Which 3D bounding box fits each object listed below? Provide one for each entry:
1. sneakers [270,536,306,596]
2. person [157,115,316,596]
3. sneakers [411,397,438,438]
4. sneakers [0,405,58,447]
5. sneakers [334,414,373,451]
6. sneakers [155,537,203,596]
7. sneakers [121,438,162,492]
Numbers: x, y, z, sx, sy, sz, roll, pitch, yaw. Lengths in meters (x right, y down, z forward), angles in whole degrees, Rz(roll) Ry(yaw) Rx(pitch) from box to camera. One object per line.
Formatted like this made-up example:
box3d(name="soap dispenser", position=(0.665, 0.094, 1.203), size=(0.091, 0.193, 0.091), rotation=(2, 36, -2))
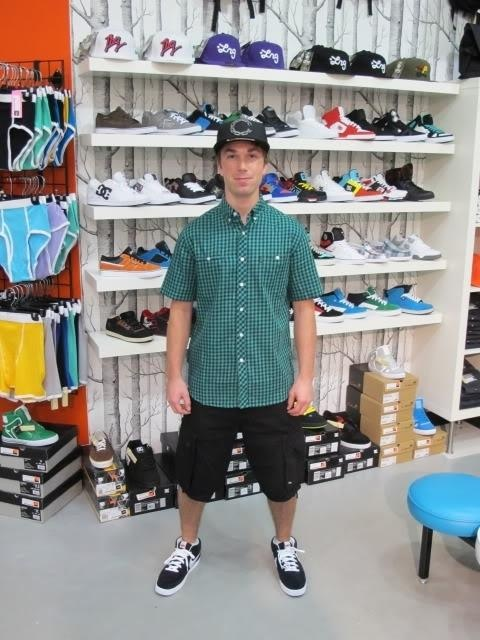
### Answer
box3d(name="sneakers", position=(0.170, 0.875, 1.880), size=(0.070, 0.076, 0.195), rotation=(-3, 8, -7))
box3d(name="person", position=(-0.008, 0.153, 1.690), size=(0.548, 1.468, 0.343), rotation=(2, 12, 7))
box3d(name="sneakers", position=(1.019, 0.564, 2.988), size=(0.096, 0.127, 0.286), rotation=(-1, 3, -2))
box3d(name="sneakers", position=(-0.931, 0.464, 2.334), size=(0.284, 0.180, 0.121), rotation=(5, 2, -8))
box3d(name="sneakers", position=(0.596, 0.603, 2.880), size=(0.089, 0.073, 0.231), rotation=(-5, 20, -19))
box3d(name="sneakers", position=(-0.210, 0.876, 1.907), size=(0.078, 0.100, 0.236), rotation=(6, 4, 13))
box3d(name="sneakers", position=(-0.439, 0.674, 2.472), size=(0.095, 0.102, 0.261), rotation=(-1, 12, -21))
